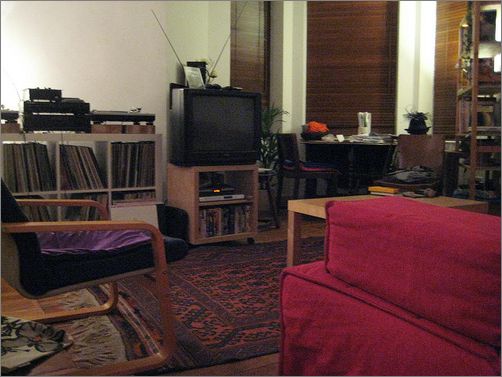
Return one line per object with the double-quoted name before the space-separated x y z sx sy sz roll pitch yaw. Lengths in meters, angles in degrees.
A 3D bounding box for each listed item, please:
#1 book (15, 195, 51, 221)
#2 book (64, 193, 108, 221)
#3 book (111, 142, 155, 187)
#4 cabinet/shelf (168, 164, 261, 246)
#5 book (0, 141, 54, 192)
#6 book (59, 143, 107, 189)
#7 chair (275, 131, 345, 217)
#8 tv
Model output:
"book" -1.319 0.120 2.399 0.056 0.166 0.203 -18 7 -7
"book" -1.142 0.135 2.736 0.273 0.183 0.136 2 7 -30
"book" -0.976 -0.207 3.416 0.430 0.405 0.512 -2 6 -22
"cabinet/shelf" -0.320 0.115 3.742 0.910 0.691 0.836 -2 5 -26
"book" -1.594 -0.153 2.851 0.425 0.307 0.091 -4 -5 -26
"book" -1.306 -0.167 3.012 0.101 0.298 0.424 -19 -12 39
"chair" 0.635 -0.174 4.519 0.723 0.656 0.527 5 2 -5
"tv" -0.466 -0.555 3.600 0.641 0.625 0.996 9 13 33
